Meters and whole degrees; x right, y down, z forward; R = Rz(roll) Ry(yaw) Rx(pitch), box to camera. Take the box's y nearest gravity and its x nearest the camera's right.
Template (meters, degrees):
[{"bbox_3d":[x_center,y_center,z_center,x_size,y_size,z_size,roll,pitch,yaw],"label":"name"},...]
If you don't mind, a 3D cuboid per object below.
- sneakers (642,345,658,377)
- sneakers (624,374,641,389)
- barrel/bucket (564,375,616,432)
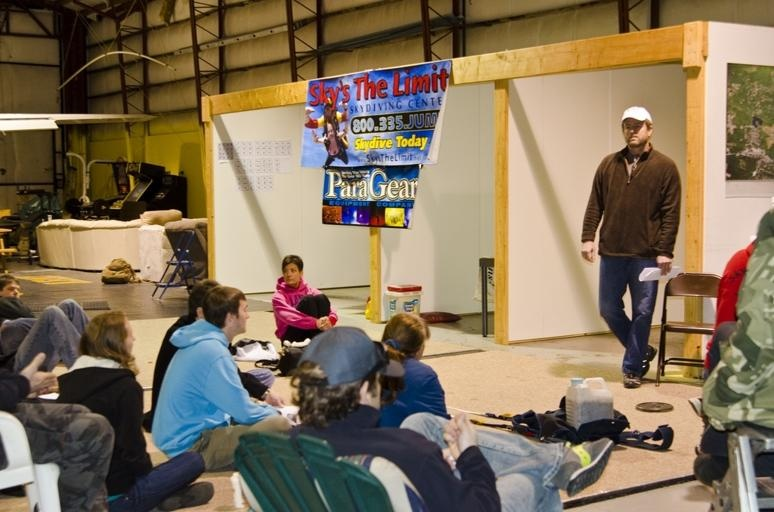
[{"bbox_3d":[2.525,1.014,6.627,0.102,0.334,0.135,0,-28,44],"label":"sneakers"},{"bbox_3d":[2.256,1.150,6.329,0.151,0.109,0.180,1,3,16],"label":"sneakers"},{"bbox_3d":[1.520,1.081,5.198,0.395,0.478,0.261,-1,0,-19],"label":"barrel/bucket"}]
